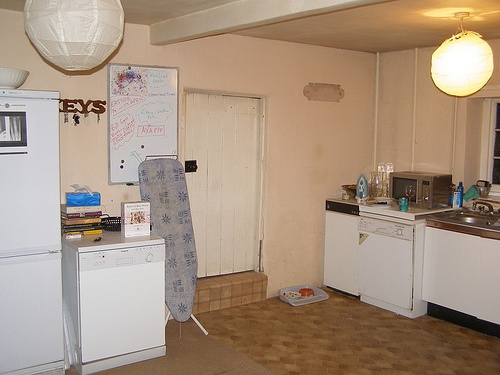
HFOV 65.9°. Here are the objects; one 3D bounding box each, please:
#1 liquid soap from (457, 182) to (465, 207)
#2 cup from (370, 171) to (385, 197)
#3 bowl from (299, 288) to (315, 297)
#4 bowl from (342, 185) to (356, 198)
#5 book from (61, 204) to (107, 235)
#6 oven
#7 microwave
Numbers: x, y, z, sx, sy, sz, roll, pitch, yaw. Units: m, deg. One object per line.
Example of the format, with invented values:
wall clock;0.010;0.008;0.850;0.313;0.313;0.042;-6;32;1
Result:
liquid soap;2.560;0.079;4.678;0.082;0.295;0.200;6;9;32
cup;1.725;-0.041;5.233;0.197;0.305;0.201;1;7;0
bowl;0.735;1.354;4.978;0.187;0.053;0.202;1;7;0
bowl;1.340;0.040;5.188;0.158;0.075;0.192;5;7;32
book;-1.552;0.271;3.571;0.296;0.183;0.295;0;3;-32
oven;1.769;0.887;4.728;0.536;1.111;0.794;-6;7;-37
microwave;2.108;0.030;4.809;0.383;0.396;0.638;-2;7;-27
